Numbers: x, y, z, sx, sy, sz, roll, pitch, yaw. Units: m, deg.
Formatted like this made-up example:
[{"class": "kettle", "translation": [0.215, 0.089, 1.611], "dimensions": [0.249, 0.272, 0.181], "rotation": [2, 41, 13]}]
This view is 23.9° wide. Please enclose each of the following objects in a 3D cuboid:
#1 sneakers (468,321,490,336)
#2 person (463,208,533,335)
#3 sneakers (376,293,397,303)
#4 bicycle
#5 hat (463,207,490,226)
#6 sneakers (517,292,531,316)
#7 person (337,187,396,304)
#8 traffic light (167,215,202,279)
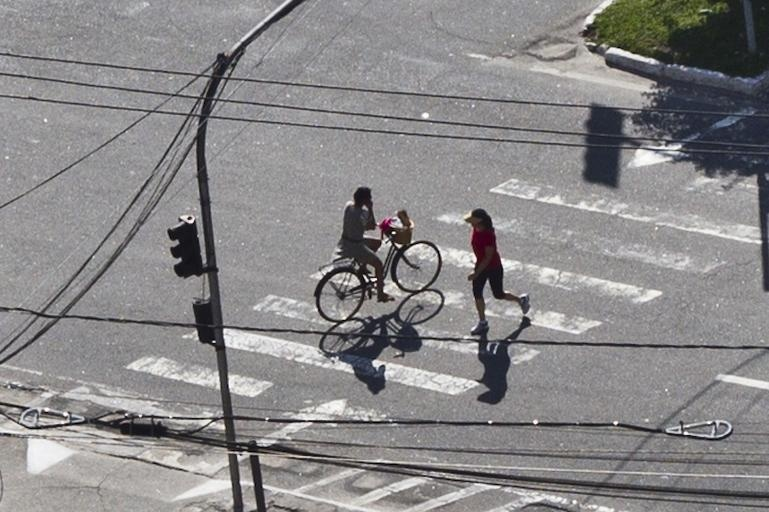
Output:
[{"class": "sneakers", "translation": [1.789, 1.394, 34.522], "dimensions": [0.480, 0.157, 0.271], "rotation": [-3, -42, 4]}, {"class": "person", "translation": [2.004, 0.311, 34.353], "dimensions": [0.847, 2.383, 1.183], "rotation": [0, 2, 33]}, {"class": "sneakers", "translation": [0.039, 0.832, 34.875], "dimensions": [0.388, 0.118, 0.243], "rotation": [-9, -19, -3]}, {"class": "bicycle", "translation": [-0.132, 0.375, 34.970], "dimensions": [2.100, 1.170, 0.855], "rotation": [-30, 38, -8]}, {"class": "hat", "translation": [1.717, -0.719, 33.944], "dimensions": [0.472, 0.216, 0.297], "rotation": [12, 1, 0]}, {"class": "sneakers", "translation": [2.648, 0.936, 34.749], "dimensions": [0.220, 0.442, 0.168], "rotation": [-21, 25, -4]}, {"class": "person", "translation": [-0.448, -0.205, 34.583], "dimensions": [0.691, 2.211, 0.964], "rotation": [-1, 2, 23]}, {"class": "traffic light", "translation": [-3.501, -0.152, 32.174], "dimensions": [0.581, 1.100, 0.771], "rotation": [-2, 2, -6]}]
